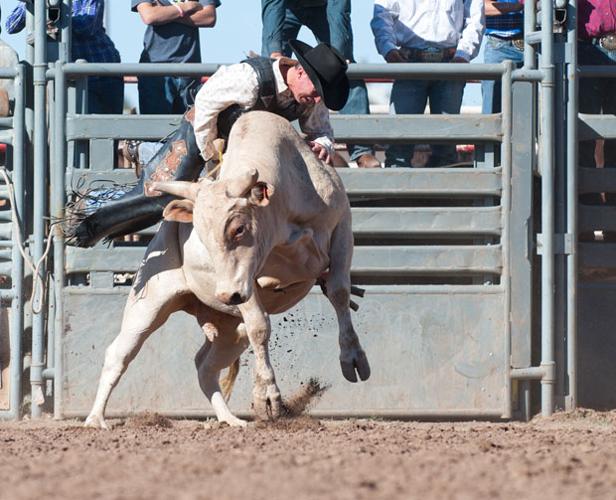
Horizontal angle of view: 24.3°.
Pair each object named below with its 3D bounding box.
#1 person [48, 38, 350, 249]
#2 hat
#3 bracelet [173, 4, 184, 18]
[{"bbox_3d":[-0.707,-0.775,11.039,2.408,0.892,1.186,-24,-18,28],"label":"person"},{"bbox_3d":[0.116,-1.280,10.494,0.426,0.473,0.317,-4,10,-12],"label":"hat"},{"bbox_3d":[-1.184,-2.192,13.061,0.076,0.125,0.058,2,11,22],"label":"bracelet"}]
